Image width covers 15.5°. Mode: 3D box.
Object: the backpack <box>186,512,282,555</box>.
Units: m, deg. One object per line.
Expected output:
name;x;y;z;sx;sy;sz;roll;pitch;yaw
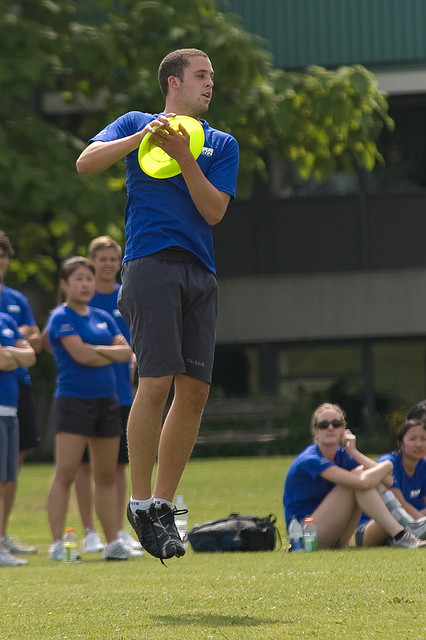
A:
backpack;0.154;1.339;9.702;0.427;0.194;0.282;-4;-4;12

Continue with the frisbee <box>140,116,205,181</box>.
frisbee;-0.195;-0.842;7.856;0.074;0.312;0.293;12;-40;-42

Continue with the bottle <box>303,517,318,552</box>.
bottle;0.597;1.301;9.475;0.089;0.193;0.293;-1;-4;3

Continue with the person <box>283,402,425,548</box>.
person;0.881;0.962;9.678;1.013;0.882;0.498;-5;-5;42

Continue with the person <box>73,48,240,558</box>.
person;-0.227;-0.121;7.940;0.710;2.617;0.608;-1;-4;7
